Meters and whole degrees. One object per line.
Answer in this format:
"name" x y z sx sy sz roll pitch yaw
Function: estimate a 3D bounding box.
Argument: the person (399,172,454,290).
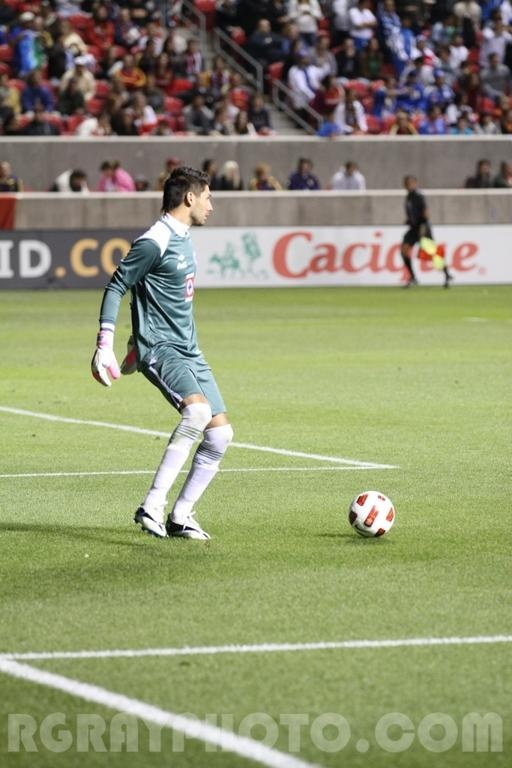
"person" 2.549 -2.488 20.397 0.471 1.677 1.218 1 9 6

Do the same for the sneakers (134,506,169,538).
"sneakers" -0.507 0.685 6.256 0.159 0.054 0.080 44 39 -17

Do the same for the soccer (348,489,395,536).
"soccer" 0.568 0.652 6.376 0.218 0.236 0.196 1 9 4

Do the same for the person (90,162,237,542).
"person" -0.449 -0.125 6.107 0.668 1.820 0.518 -3 10 -20

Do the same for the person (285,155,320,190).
"person" 0.866 -3.791 22.968 0.567 0.572 0.914 1 9 1

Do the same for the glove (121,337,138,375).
"glove" -0.628 -0.135 6.332 0.075 0.218 0.086 6 52 -5

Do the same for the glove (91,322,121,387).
"glove" -0.685 -0.122 5.951 0.196 0.293 0.088 -10 -31 13

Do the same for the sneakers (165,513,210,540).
"sneakers" -0.338 0.707 6.311 0.251 0.103 0.090 5 3 21

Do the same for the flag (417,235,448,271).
"flag" 2.854 -2.148 20.783 0.446 0.444 0.152 33 30 -52
